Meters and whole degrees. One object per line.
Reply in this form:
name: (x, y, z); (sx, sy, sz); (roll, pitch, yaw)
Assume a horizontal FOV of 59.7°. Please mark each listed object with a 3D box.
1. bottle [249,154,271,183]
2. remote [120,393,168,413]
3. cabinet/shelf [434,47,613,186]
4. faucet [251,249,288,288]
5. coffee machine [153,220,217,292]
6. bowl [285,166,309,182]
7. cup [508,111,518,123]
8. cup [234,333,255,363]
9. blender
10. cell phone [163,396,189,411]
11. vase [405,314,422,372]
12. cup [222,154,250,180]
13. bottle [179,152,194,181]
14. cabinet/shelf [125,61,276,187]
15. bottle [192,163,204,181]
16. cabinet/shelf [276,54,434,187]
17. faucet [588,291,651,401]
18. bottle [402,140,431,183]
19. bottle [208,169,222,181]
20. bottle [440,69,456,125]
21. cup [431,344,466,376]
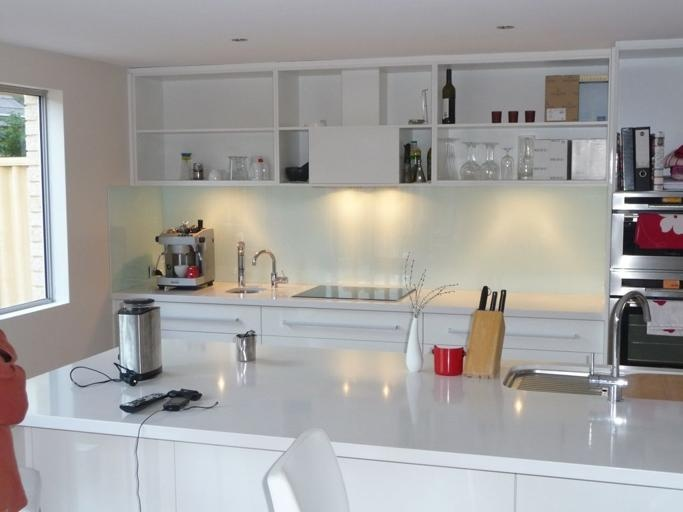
bottle: (-0.680, -0.724, 4.893); (0.164, 0.200, 0.330); (-2, 9, -7)
remote: (-0.802, 0.580, 2.415); (0.062, 0.035, 0.174); (2, 3, 19)
cabinet/shelf: (1.366, -1.026, 4.355); (0.947, 0.649, 0.289); (1, 2, 20)
faucet: (-0.576, 0.102, 5.021); (0.238, 0.470, 0.359); (0, -1, 28)
coffee machine: (-1.321, -0.018, 4.998); (0.413, 0.556, 0.490); (0, 9, 5)
bowl: (-0.359, -0.649, 4.744); (0.168, 0.153, 0.121); (1, -1, -13)
cup: (1.244, -1.011, 4.330); (0.071, 0.082, 0.079); (0, 3, 0)
cup: (-0.471, 0.446, 2.920); (0.106, 0.132, 0.135); (0, -3, -7)
blender: (-0.911, 0.395, 2.678); (0.191, 0.321, 0.140); (-4, 10, -21)
cell phone: (-0.671, 0.594, 2.409); (0.097, 0.031, 0.110); (-2, 9, -4)
vase: (0.337, 0.397, 2.795); (0.075, 0.266, 0.133); (0, 9, 5)
cup: (-0.869, -0.728, 4.934); (0.190, 0.198, 0.192); (1, 0, 0)
bottle: (-1.328, -0.771, 5.061); (0.109, 0.231, 0.207); (-4, 9, -16)
cabinet/shelf: (-1.158, -1.120, 4.958); (0.917, 0.731, 0.315); (0, 2, 9)
bottle: (-1.206, -0.708, 4.995); (0.089, 0.142, 0.270); (-3, 9, -13)
cabinet/shelf: (0.136, -1.045, 4.578); (0.935, 0.688, 0.304); (0, 2, 15)
faucet: (1.192, 0.381, 2.517); (0.294, 0.447, 0.208); (-1, -9, 13)
bottle: (0.569, -0.728, 4.577); (0.213, 0.315, 0.335); (0, 9, 5)
bottle: (-1.057, -0.662, 4.953); (0.113, 0.086, 0.115); (0, -1, 0)
bottle: (0.792, -1.203, 4.461); (0.093, 0.417, 0.162); (2, 9, 15)
cup: (0.481, 0.488, 2.755); (0.146, 0.115, 0.109); (2, -7, -21)
